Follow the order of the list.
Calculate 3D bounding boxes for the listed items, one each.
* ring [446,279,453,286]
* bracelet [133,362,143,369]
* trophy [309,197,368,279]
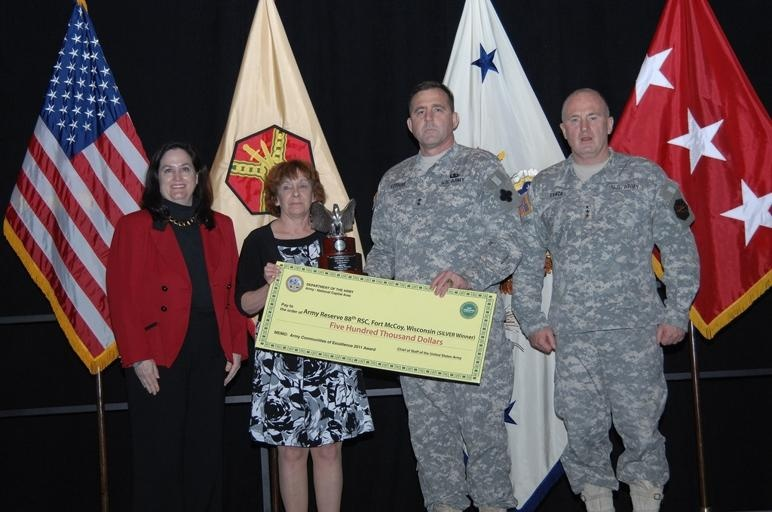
[{"bbox_3d":[0.356,0.152,3.904,0.024,0.036,0.008,6,-15,2],"label":"ring"},{"bbox_3d":[-1.396,0.615,3.972,0.043,0.035,0.045,-5,0,12],"label":"bracelet"},{"bbox_3d":[-0.295,-0.108,4.110,0.280,0.425,0.383,-3,1,-6],"label":"trophy"}]
